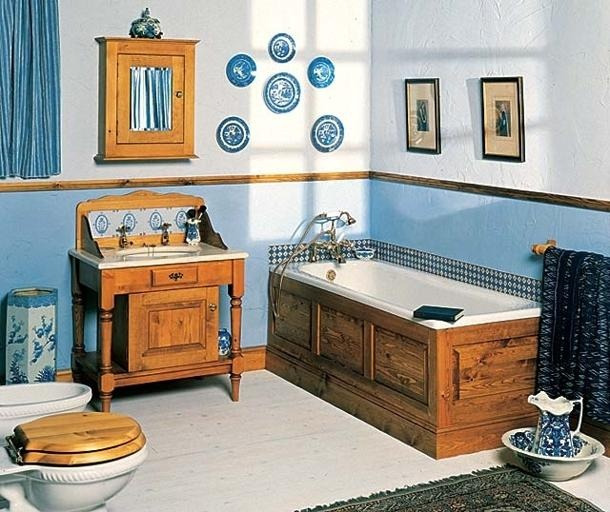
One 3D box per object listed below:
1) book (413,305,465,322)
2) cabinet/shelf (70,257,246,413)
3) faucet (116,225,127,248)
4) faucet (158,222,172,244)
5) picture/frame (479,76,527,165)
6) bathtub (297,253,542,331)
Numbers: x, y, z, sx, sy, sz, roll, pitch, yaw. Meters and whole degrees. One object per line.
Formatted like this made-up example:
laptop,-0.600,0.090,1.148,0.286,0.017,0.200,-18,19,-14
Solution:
book,0.683,0.301,2.889,0.232,0.052,0.192,3,7,34
cabinet/shelf,-0.939,0.432,3.600,1.035,0.857,0.642,0,3,-32
faucet,-1.199,-0.135,3.677,0.065,0.158,0.079,-3,6,-19
faucet,-0.952,-0.157,3.808,0.073,0.154,0.108,-2,5,-11
picture/frame,1.176,-0.832,3.371,0.081,0.532,0.330,-3,6,-19
bathtub,0.617,0.238,3.610,0.805,0.288,1.657,-4,6,-28
